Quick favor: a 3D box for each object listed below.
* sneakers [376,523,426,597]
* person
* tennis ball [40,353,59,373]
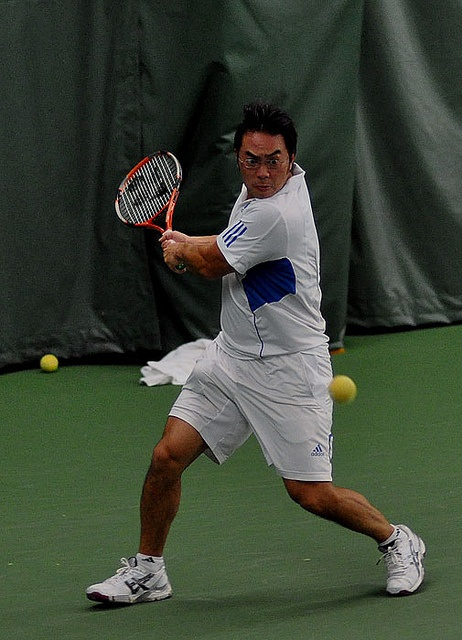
[{"bbox_3d":[0.492,0.690,1.845,0.093,0.116,0.235,-33,19,26],"label":"sneakers"},{"bbox_3d":[0.061,0.112,1.863,0.997,1.458,0.498,-2,11,1],"label":"person"},{"bbox_3d":[-1.758,0.414,5.965,0.175,0.155,0.243,-5,10,-16],"label":"tennis ball"}]
